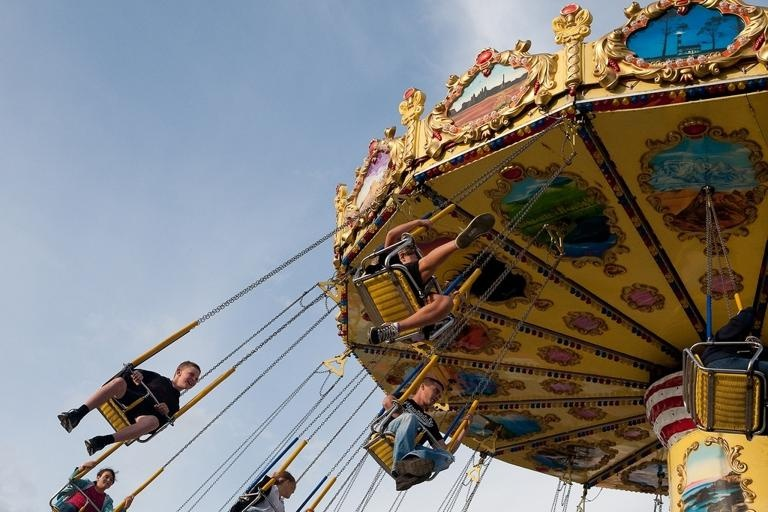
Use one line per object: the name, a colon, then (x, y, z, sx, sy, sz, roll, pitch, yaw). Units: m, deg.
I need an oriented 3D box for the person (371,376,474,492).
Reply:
person: (0.423, 2.030, 7.039, 1.020, 1.498, 0.578, 17, -49, 7)

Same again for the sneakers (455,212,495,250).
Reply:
sneakers: (1.036, -0.299, 6.553, 0.263, 0.586, 0.228, 58, -17, -11)

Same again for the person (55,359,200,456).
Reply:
person: (-3.261, 1.859, 7.617, 0.665, 1.577, 1.039, -17, -61, 31)

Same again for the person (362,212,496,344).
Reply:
person: (0.329, 0.222, 6.281, 1.168, 1.486, 0.977, 14, -49, 10)

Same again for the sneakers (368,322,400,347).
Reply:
sneakers: (-0.012, 0.837, 6.095, 0.203, 0.478, 0.139, 5, -76, 39)
